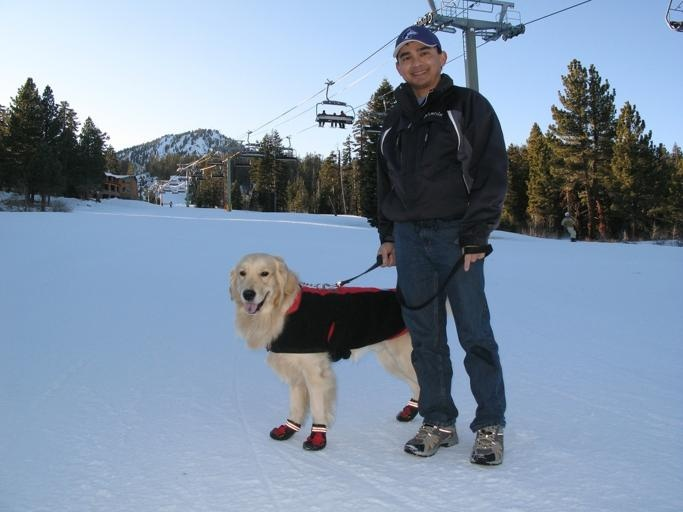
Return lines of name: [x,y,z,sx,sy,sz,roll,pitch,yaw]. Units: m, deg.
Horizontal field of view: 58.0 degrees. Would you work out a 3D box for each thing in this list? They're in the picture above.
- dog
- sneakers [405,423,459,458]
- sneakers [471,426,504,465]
dog: [0.007,0.835,5.788,1.988,1.722,0.735,0,-3,-19]
sneakers: [0.748,1.530,5.256,0.490,0.267,0.194,-3,-2,-30]
sneakers: [1.173,1.511,4.972,0.263,0.278,0.213,3,10,14]
